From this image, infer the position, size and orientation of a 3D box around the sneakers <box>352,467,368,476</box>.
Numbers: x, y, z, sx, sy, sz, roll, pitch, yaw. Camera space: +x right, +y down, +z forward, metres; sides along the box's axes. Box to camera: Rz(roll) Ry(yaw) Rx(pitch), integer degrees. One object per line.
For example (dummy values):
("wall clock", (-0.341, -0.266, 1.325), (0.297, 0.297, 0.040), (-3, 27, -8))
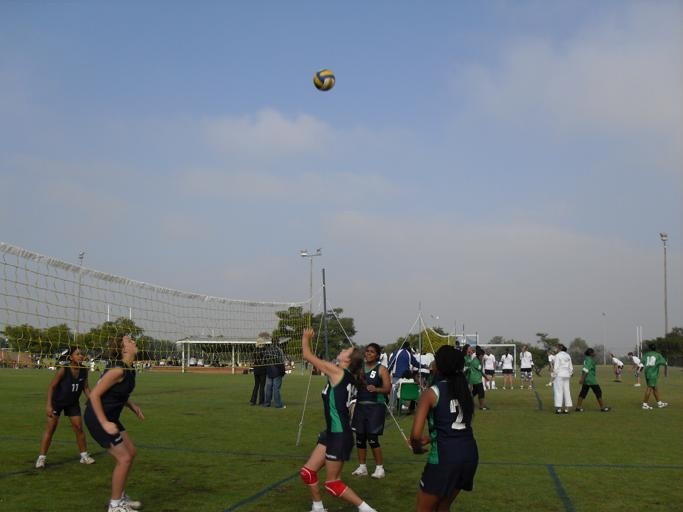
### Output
("sneakers", (0.304, 3.519, 11.351), (0.251, 0.159, 0.122), (-1, -11, 0))

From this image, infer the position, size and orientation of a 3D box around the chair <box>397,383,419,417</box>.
("chair", (1.738, 3.657, 17.991), (0.582, 1.009, 0.719), (4, 9, 5))

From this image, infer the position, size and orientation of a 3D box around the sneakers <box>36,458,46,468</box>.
("sneakers", (-4.913, 3.374, 11.300), (0.101, 0.118, 0.256), (8, -23, -27))

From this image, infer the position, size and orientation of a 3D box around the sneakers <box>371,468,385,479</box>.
("sneakers", (0.562, 3.481, 11.130), (0.272, 0.162, 0.105), (9, -18, -28))

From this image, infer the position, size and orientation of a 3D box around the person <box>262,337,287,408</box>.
("person", (-1.990, 3.479, 20.917), (0.616, 2.123, 1.587), (1, -12, -4))

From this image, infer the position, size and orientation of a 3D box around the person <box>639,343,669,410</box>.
("person", (8.939, 3.398, 19.940), (1.025, 1.895, 0.676), (6, -10, -26))

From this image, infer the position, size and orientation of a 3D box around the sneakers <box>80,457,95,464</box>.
("sneakers", (-4.280, 3.428, 11.669), (0.273, 0.126, 0.103), (1, -7, 7))
